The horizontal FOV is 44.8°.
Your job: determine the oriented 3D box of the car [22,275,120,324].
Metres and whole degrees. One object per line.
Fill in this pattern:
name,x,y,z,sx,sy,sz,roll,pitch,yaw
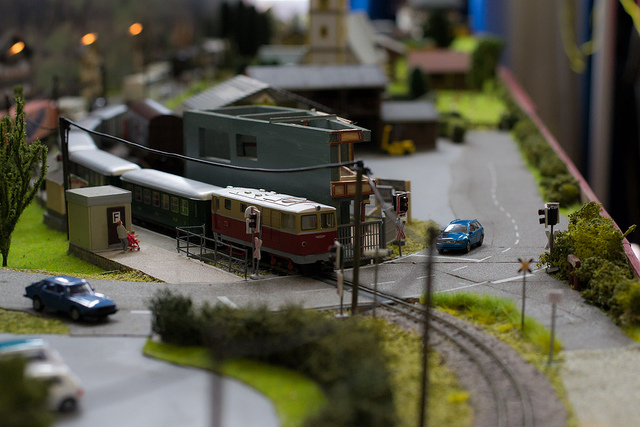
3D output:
car,-12.688,4.274,39.237,4.693,1.768,2.201,10,5,28

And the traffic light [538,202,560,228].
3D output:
traffic light,12.610,0.043,42.843,1.162,1.668,1.176,-1,6,3

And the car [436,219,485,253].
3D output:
car,8.696,1.314,47.265,1.381,1.190,3.028,0,4,25

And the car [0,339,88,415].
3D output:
car,-11.521,6.987,33.331,2.721,2.476,4.301,-18,28,-36

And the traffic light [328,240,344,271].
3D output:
traffic light,0.840,2.027,37.913,0.284,1.198,1.123,-2,5,-6
